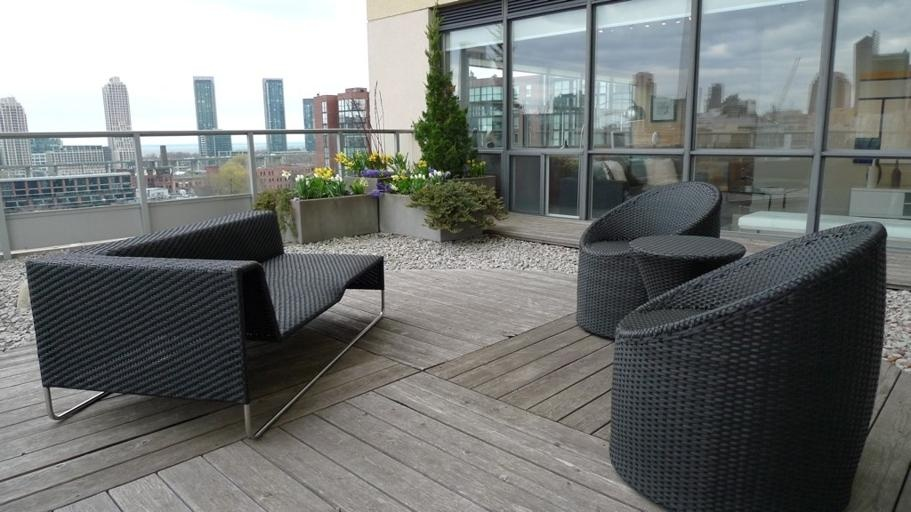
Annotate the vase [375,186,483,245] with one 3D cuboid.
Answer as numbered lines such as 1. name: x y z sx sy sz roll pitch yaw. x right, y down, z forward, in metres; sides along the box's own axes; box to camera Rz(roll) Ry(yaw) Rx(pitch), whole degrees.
1. vase: -0.504 -0.537 7.445 1.348 0.605 0.552 6 17 35

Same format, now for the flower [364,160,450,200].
1. flower: -0.591 -1.040 7.954 0.797 0.272 0.941 10 17 40

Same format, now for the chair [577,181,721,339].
1. chair: 1.503 -0.108 5.012 1.630 1.304 1.217 -4 9 -24

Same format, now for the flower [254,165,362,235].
1. flower: -2.022 -0.852 7.579 1.264 0.633 1.206 8 12 42

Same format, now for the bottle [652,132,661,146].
1. bottle: 2.638 -1.562 7.360 0.108 0.163 0.039 3 18 27

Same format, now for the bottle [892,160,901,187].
1. bottle: 4.778 -0.889 6.056 0.107 0.310 0.025 4 19 29

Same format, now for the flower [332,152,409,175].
1. flower: -1.285 -1.437 8.529 0.747 0.213 0.657 0 7 -7

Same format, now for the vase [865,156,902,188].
1. vase: 4.674 -0.931 6.092 0.139 0.276 0.347 -23 23 -33
